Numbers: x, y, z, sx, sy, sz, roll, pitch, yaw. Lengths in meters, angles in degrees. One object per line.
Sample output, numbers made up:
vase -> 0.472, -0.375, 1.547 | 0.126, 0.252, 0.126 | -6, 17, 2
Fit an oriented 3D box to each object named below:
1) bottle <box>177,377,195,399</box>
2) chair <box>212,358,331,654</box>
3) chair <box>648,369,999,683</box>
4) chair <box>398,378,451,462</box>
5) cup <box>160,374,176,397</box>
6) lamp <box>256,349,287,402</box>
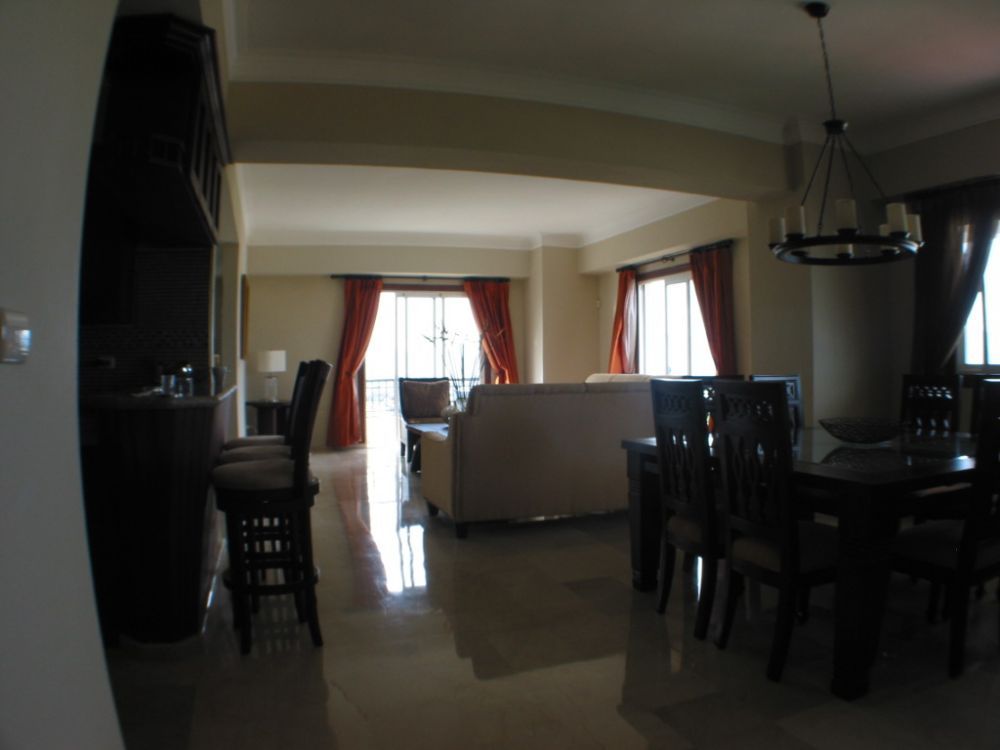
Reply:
bottle -> -1.728, 0.068, 4.096 | 0.057, 0.089, 0.084 | -3, 5, -21
chair -> -1.049, 0.533, 3.424 | 0.492, 1.229, 0.761 | -3, 6, -22
chair -> 1.439, 0.436, 3.284 | 1.142, 1.209, 1.142 | -1, 3, -29
chair -> -0.769, 0.463, 8.125 | 0.537, 0.882, 0.598 | 0, -5, -14
cup -> -1.851, 0.056, 4.159 | 0.084, 0.090, 0.081 | 2, 9, 0
lamp -> -2.652, 0.019, 8.651 | 0.315, 0.619, 0.345 | -3, -8, 3
